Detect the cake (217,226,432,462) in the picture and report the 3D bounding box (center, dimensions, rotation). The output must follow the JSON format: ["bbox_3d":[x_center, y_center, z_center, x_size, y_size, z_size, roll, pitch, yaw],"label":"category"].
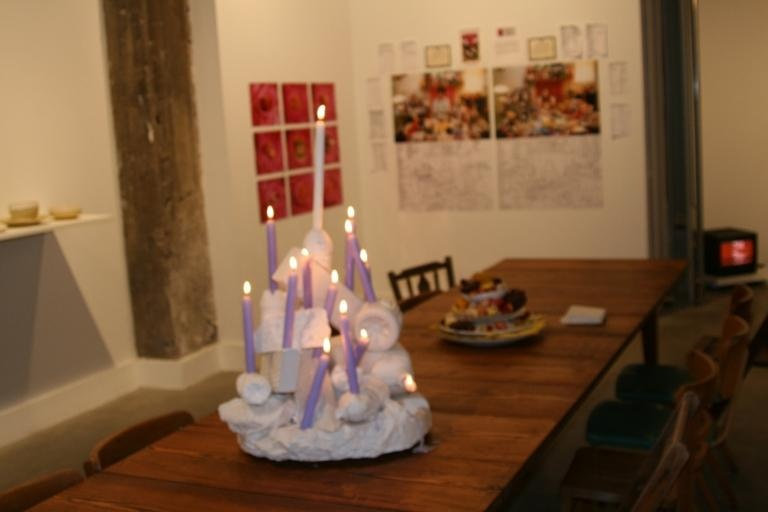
[{"bbox_3d":[-0.103,0.175,1.728,0.597,0.792,0.596,6,10,40],"label":"cake"}]

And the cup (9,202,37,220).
[{"bbox_3d":[-2.157,-0.276,3.393,0.132,0.096,0.100,2,3,-34],"label":"cup"}]

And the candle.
[{"bbox_3d":[-0.224,0.007,1.495,0.391,0.778,0.381,-5,14,-2],"label":"candle"}]

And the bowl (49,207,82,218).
[{"bbox_3d":[-2.037,-0.283,3.624,0.174,0.088,0.088,-13,15,-29],"label":"bowl"}]
